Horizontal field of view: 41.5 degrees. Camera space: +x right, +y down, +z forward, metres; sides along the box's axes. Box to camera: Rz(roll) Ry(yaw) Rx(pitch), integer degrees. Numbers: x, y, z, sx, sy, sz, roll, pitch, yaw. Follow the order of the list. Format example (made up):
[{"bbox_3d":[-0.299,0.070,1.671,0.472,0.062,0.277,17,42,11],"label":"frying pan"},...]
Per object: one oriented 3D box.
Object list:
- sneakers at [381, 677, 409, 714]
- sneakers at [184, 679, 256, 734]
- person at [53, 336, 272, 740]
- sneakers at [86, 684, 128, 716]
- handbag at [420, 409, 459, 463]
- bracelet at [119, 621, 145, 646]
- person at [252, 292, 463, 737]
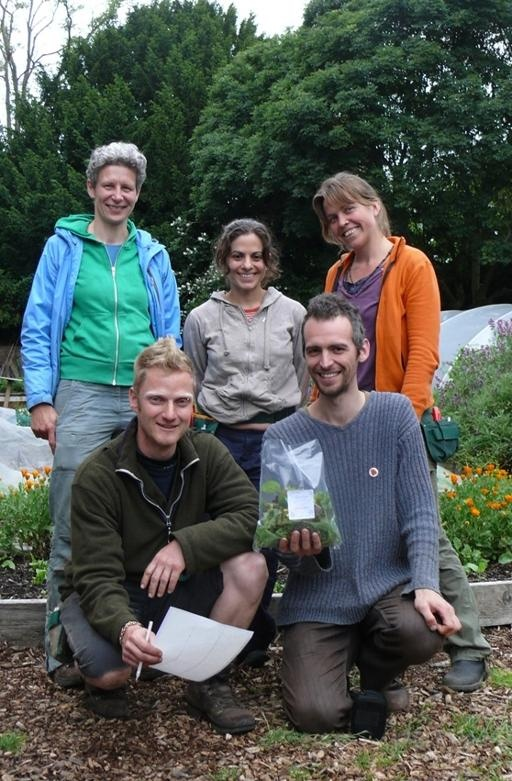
[{"bbox_3d":[0.543,1.173,2.604,0.096,0.125,0.044,2,-25,-4],"label":"sneakers"},{"bbox_3d":[-0.132,1.148,2.530,0.120,0.203,0.340,10,-11,-40],"label":"sneakers"},{"bbox_3d":[-0.337,0.516,2.576,0.790,1.484,0.725,-1,0,-16],"label":"person"},{"bbox_3d":[-0.566,1.157,2.545,0.173,0.125,0.111,-1,0,2],"label":"sneakers"},{"bbox_3d":[0.806,0.173,2.961,0.153,0.192,0.075,-8,-33,9],"label":"handbag"},{"bbox_3d":[-0.424,0.799,2.266,0.071,0.084,0.033,11,5,8],"label":"bracelet"},{"bbox_3d":[0.355,0.429,2.538,0.689,1.648,0.409,-1,0,1],"label":"person"}]
